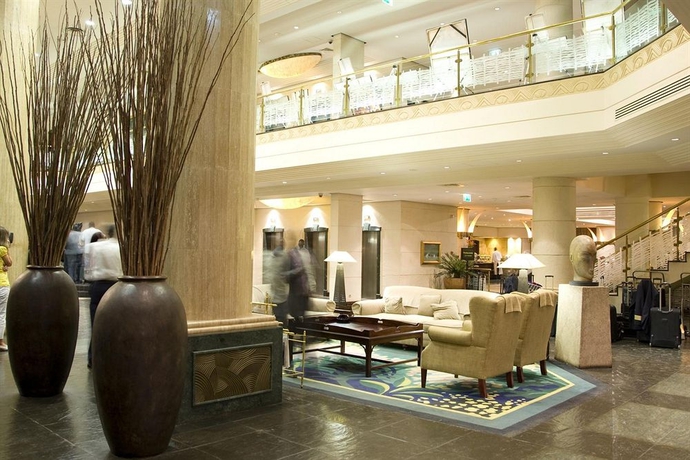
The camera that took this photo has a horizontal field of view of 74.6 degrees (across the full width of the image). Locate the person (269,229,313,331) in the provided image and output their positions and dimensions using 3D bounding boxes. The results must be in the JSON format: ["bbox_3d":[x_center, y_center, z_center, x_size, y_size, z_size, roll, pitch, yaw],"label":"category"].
[{"bbox_3d":[-0.827,0.833,7.215,0.661,1.405,1.077,5,-4,-8],"label":"person"}]

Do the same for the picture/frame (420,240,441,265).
[{"bbox_3d":[3.258,0.841,17.271,1.006,0.772,0.107,1,-3,-44],"label":"picture/frame"}]

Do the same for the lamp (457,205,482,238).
[{"bbox_3d":[5.248,-0.352,19.249,1.337,1.235,1.359,-2,-5,43],"label":"lamp"}]

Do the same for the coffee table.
[{"bbox_3d":[0.176,1.844,7.514,2.061,0.735,1.420,2,-4,21],"label":"coffee table"}]

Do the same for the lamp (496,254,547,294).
[{"bbox_3d":[3.518,0.766,8.816,0.907,0.605,0.877,-4,-7,43],"label":"lamp"}]

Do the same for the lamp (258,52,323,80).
[{"bbox_3d":[-1.514,-4.818,13.234,1.093,0.247,1.035,-5,-7,-18],"label":"lamp"}]

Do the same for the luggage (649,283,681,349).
[{"bbox_3d":[6.654,1.985,9.353,0.522,0.802,0.610,2,-4,34],"label":"luggage"}]
